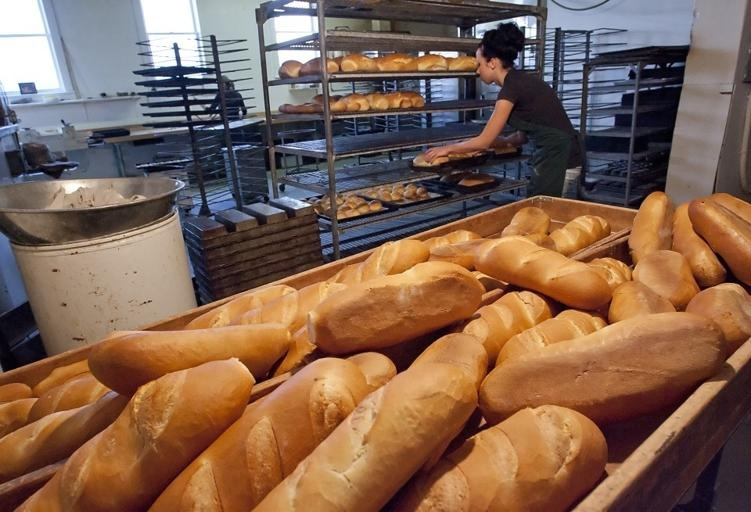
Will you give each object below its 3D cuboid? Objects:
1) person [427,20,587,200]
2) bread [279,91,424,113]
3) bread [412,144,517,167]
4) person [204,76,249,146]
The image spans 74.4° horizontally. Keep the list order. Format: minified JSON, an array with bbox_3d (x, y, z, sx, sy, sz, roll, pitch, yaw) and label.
[{"bbox_3d":[1.173,-1.157,3.986,0.971,1.277,1.406,4,21,20],"label":"person"},{"bbox_3d":[-0.131,-1.232,3.884,1.203,0.158,0.818,-5,17,-8],"label":"bread"},{"bbox_3d":[0.758,-0.836,4.029,0.765,0.089,0.391,-11,13,-33],"label":"bread"},{"bbox_3d":[-1.913,-1.951,6.785,0.562,1.215,0.342,17,48,5],"label":"person"}]
